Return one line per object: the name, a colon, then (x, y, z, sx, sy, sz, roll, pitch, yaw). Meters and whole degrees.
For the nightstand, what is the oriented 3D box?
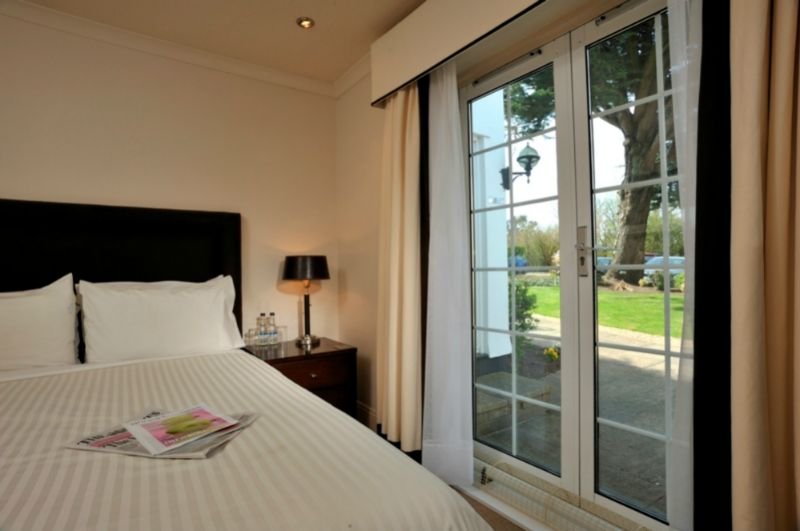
nightstand: (-0.730, 0.788, 4.097, 0.769, 0.814, 0.558, -3, 4, -43)

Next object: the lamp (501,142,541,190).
lamp: (0.757, -0.611, 3.234, 0.166, 0.330, 0.274, 0, 0, -41)
